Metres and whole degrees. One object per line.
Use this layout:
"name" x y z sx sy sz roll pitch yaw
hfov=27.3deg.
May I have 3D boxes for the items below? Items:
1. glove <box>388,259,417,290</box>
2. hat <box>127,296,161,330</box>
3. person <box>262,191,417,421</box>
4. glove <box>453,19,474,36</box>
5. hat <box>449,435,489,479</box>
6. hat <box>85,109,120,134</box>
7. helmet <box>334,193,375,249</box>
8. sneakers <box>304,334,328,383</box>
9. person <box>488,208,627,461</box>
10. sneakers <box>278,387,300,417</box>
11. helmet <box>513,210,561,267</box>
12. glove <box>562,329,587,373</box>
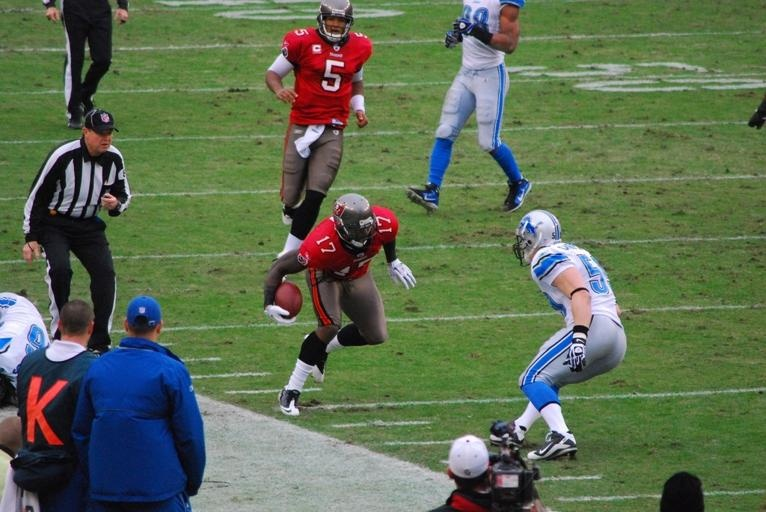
"glove" 0.168 0.183 15.011 0.113 0.349 0.192 -30 27 38
"hat" -1.868 0.441 12.455 0.232 0.150 0.301 0 20 -9
"person" -0.460 0.394 14.528 1.002 2.024 0.655 0 17 -36
"glove" 0.913 -2.471 17.114 0.114 0.166 0.257 -4 16 -43
"hat" 0.679 1.540 12.152 0.298 0.163 0.331 4 39 7
"hat" -2.598 -1.224 14.457 0.313 0.150 0.232 24 20 40
"helmet" -0.235 -0.295 14.182 0.398 0.495 0.223 8 13 -1
"sneakers" -0.571 1.001 14.786 0.181 0.327 0.125 -18 9 7
"person" 1.625 0.700 13.977 1.029 2.025 1.233 9 13 0
"sneakers" -0.827 1.315 14.322 0.129 0.141 0.329 4 21 -35
"helmet" 1.402 -0.219 14.434 0.565 0.444 0.407 5 11 20
"glove" 1.696 0.832 13.629 0.254 0.306 0.092 22 -5 7
